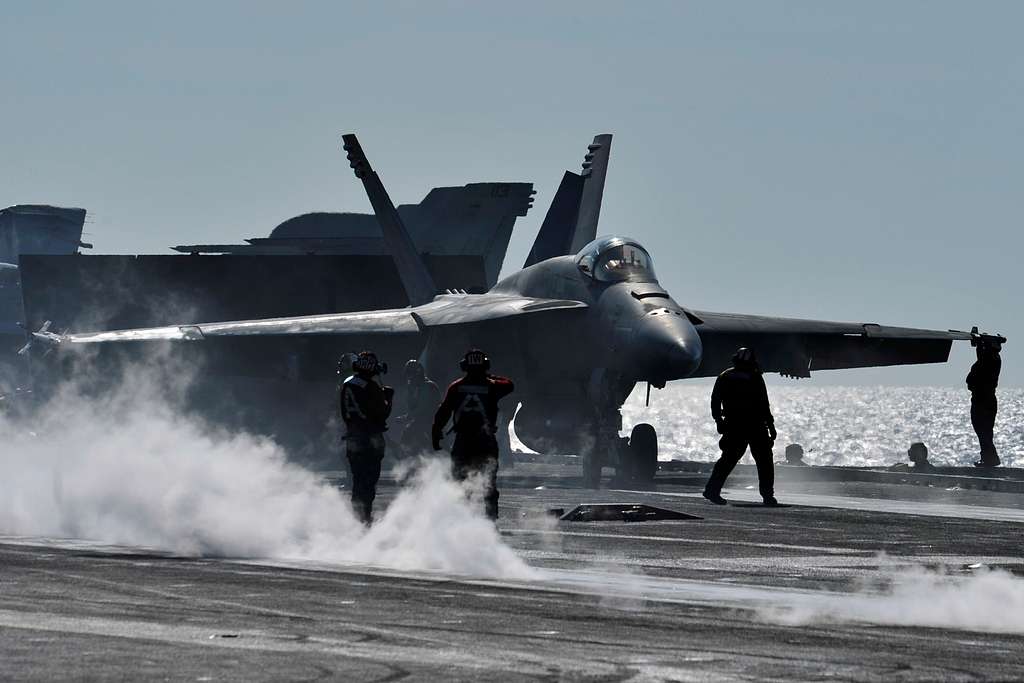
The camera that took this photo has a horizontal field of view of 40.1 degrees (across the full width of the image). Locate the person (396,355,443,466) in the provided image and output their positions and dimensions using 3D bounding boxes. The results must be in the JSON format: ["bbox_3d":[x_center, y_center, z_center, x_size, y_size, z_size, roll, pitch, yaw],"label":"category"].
[{"bbox_3d":[-1.711,1.260,26.415,1.385,0.984,2.653,6,25,-5],"label":"person"}]

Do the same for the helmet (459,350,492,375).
[{"bbox_3d":[-0.475,0.269,18.159,0.409,0.334,0.315,-2,21,-3],"label":"helmet"}]

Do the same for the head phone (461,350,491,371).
[{"bbox_3d":[-0.466,0.240,18.129,0.348,0.220,0.310,-1,-19,-4],"label":"head phone"}]

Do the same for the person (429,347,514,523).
[{"bbox_3d":[-0.497,0.946,17.914,0.999,1.677,0.356,1,-6,-6],"label":"person"}]

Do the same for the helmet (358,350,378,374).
[{"bbox_3d":[-1.908,0.281,18.802,0.267,0.271,0.294,-7,31,-32],"label":"helmet"}]

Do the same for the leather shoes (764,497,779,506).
[{"bbox_3d":[4.206,2.581,22.910,0.200,0.110,0.166,1,-4,-6],"label":"leather shoes"}]

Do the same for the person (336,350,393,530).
[{"bbox_3d":[-1.970,1.293,18.848,0.714,2.304,0.609,0,-6,-4],"label":"person"}]
